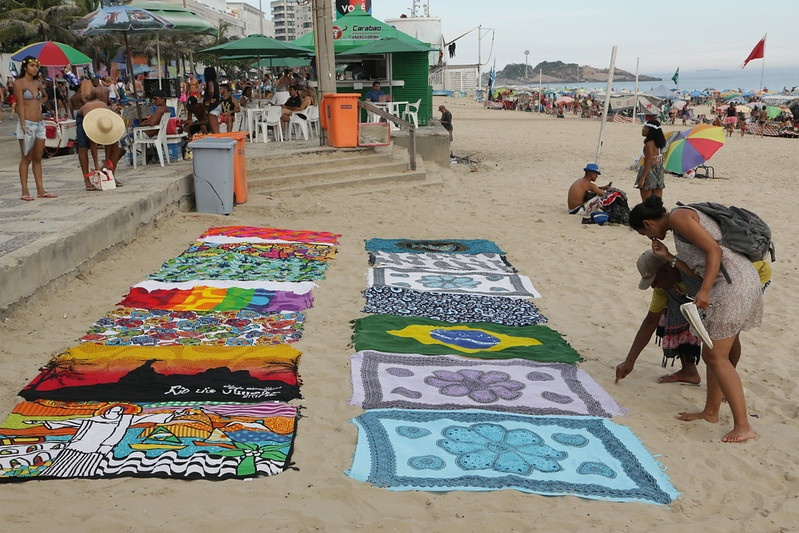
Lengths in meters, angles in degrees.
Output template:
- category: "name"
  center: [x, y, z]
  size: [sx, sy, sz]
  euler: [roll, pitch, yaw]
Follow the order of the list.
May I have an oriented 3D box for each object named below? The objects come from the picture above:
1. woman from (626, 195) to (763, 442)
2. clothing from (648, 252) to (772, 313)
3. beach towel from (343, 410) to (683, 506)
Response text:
- category: "woman"
  center: [3.071, 0.473, 6.864]
  size: [1.812, 2.173, 1.288]
  euler: [5, 2, 43]
- category: "clothing"
  center: [3.415, 0.258, 7.093]
  size: [0.844, 0.917, 1.002]
  euler: [15, 10, 19]
- category: "beach towel"
  center: [1.001, 1.781, 6.262]
  size: [2.991, 0.299, 1.096]
  euler: [1, 18, 1]
